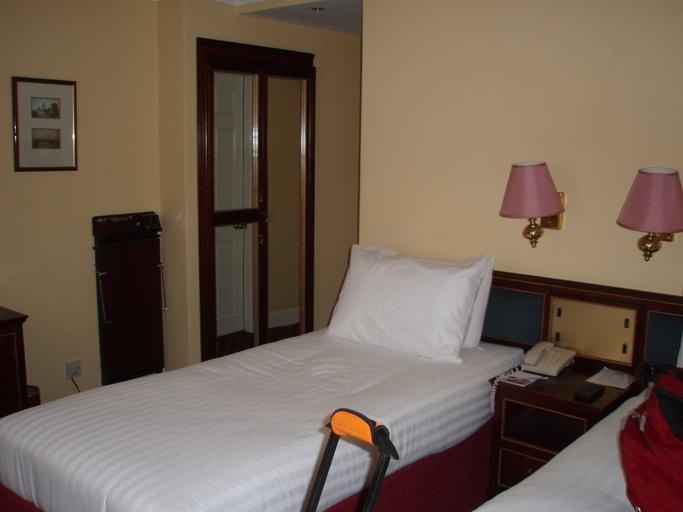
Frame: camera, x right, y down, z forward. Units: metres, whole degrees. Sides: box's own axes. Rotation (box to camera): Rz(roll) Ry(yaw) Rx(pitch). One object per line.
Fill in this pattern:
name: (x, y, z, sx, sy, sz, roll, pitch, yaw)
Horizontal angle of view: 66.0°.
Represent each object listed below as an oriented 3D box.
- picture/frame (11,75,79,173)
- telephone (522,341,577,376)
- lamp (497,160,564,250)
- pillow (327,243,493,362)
picture/frame: (-2.144, -0.965, 3.807, 0.454, 0.652, 0.121, -8, 15, -33)
telephone: (1.194, 0.579, 3.014, 0.237, 0.103, 0.312, -3, 10, 43)
lamp: (1.126, -0.291, 3.060, 0.301, 0.526, 0.315, 12, 17, 42)
pillow: (0.402, 0.285, 3.203, 0.735, 0.724, 0.235, 10, -16, 38)
